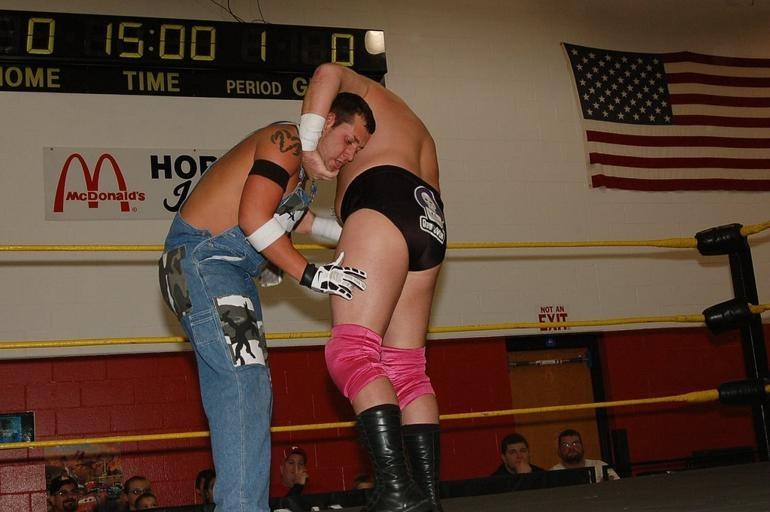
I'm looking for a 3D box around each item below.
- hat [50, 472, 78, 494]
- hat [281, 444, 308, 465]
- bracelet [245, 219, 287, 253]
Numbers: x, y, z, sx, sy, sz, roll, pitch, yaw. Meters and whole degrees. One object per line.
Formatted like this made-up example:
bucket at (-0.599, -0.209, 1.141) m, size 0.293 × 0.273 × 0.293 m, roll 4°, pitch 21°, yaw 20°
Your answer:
hat at (-2.764, 1.963, 5.747) m, size 0.181 × 0.173 × 0.145 m, roll 6°, pitch -25°, yaw -2°
hat at (-0.814, 1.803, 6.091) m, size 0.169 × 0.147 × 0.276 m, roll 7°, pitch -2°, yaw -10°
bracelet at (-0.599, -0.104, 3.463) m, size 0.166 × 0.113 × 0.176 m, roll -34°, pitch 7°, yaw 25°
